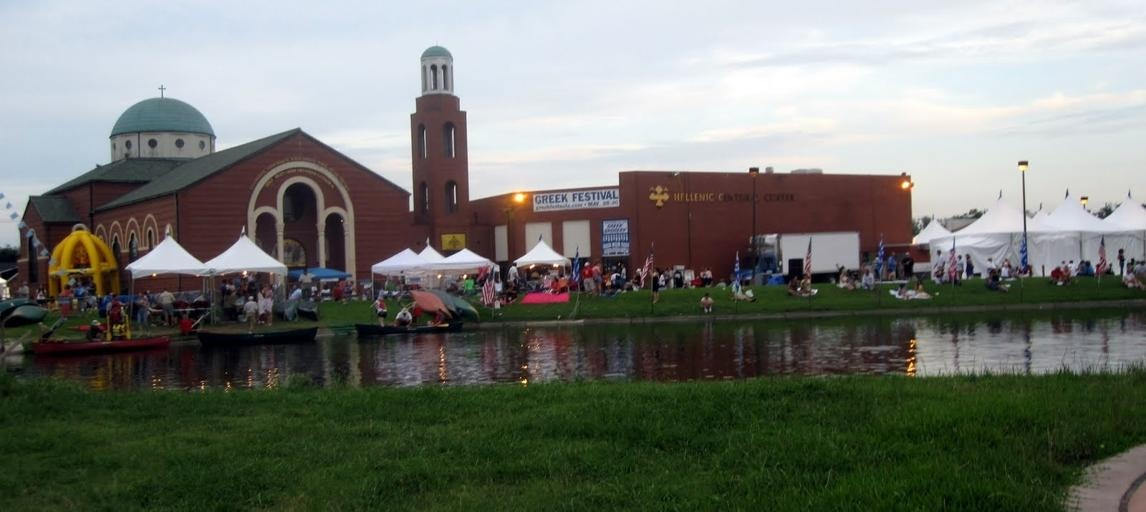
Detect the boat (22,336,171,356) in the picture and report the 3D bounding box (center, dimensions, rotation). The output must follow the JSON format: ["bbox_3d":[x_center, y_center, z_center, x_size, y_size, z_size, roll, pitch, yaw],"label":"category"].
[{"bbox_3d":[-34.164,6.494,93.124,11.213,1.252,2.185,-2,0,-14],"label":"boat"}]

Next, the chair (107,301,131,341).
[{"bbox_3d":[-33.279,4.592,94.455,1.291,2.874,1.818,-4,-3,8],"label":"chair"}]
